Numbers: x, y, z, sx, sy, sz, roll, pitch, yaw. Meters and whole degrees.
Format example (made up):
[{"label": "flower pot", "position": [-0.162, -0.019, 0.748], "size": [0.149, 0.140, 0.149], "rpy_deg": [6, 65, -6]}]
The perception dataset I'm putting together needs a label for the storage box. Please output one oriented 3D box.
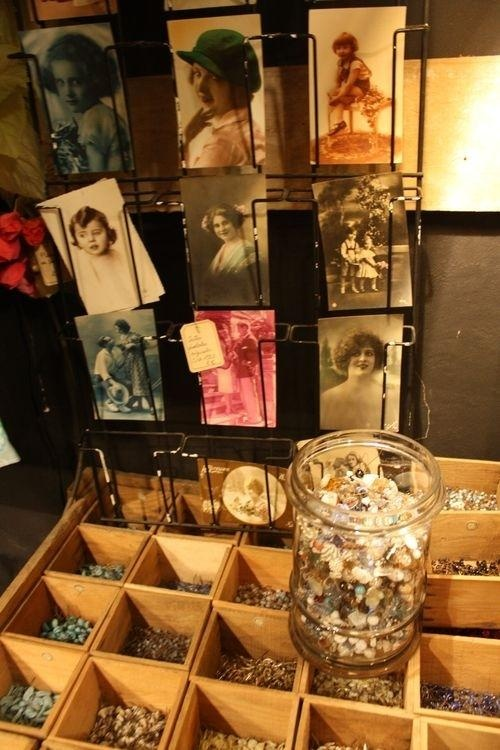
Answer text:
[{"label": "storage box", "position": [0.153, 0.248, 0.768], "size": [0.204, 0.278, 0.194], "rpy_deg": [-6, 23, -8]}]
